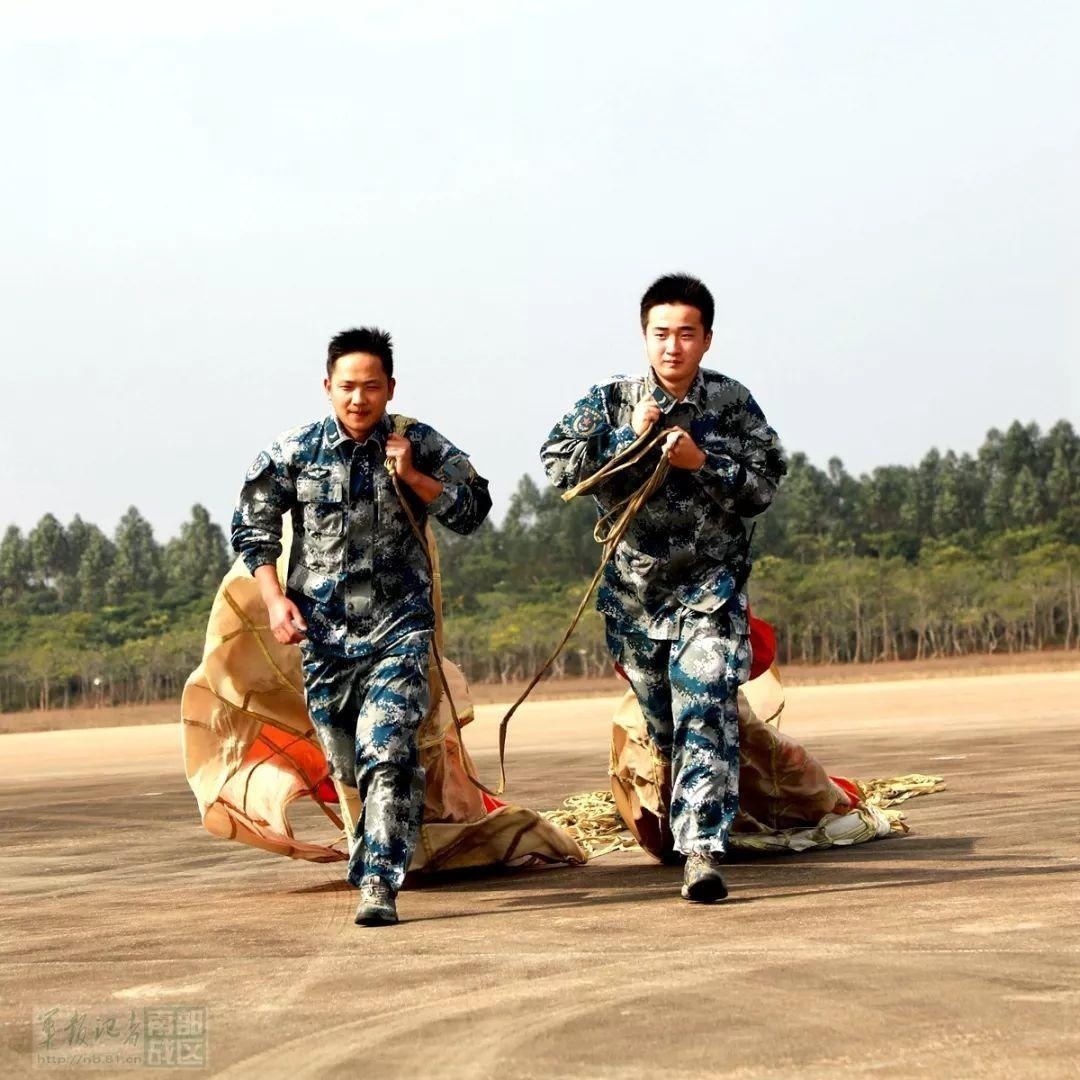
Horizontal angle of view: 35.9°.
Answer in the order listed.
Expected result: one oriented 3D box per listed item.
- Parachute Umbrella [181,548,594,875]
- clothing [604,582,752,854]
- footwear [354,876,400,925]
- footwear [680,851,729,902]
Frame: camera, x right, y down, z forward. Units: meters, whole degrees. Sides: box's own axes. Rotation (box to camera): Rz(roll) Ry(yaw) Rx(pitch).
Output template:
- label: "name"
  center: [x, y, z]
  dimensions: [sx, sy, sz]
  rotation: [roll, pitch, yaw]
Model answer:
- label: "Parachute Umbrella"
  center: [-0.577, 0.905, 7.453]
  dimensions: [1.472, 1.462, 1.677]
  rotation: [-5, -9, 20]
- label: "clothing"
  center: [0.563, 0.702, 6.404]
  dimensions: [0.499, 0.963, 0.842]
  rotation: [0, -6, -14]
- label: "footwear"
  center: [-0.568, 1.250, 5.766]
  dimensions: [0.144, 0.154, 0.358]
  rotation: [1, -11, -2]
- label: "footwear"
  center: [0.582, 1.196, 5.891]
  dimensions: [0.170, 0.160, 0.199]
  rotation: [-1, -6, -9]
